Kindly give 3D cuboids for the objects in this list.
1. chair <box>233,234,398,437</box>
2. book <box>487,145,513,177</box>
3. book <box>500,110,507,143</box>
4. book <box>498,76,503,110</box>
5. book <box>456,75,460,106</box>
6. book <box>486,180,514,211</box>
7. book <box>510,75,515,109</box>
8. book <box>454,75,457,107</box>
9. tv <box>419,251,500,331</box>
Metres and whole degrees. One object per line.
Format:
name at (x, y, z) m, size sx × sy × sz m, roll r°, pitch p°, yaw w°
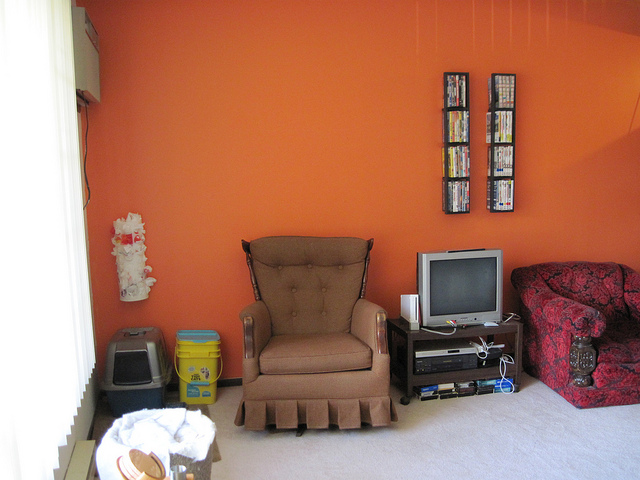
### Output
chair at (-0.044, 0.580, 4.375) m, size 1.254 × 1.631 × 1.272 m, roll 0°, pitch 4°, yaw -5°
book at (1.563, -0.677, 4.719) m, size 0.177 × 0.249 × 0.018 m, roll -1°, pitch 5°, yaw -4°
book at (1.555, -0.979, 4.691) m, size 0.069 × 0.220 × 0.206 m, roll -3°, pitch 14°, yaw 14°
book at (1.525, -1.248, 4.664) m, size 0.048 × 0.268 × 0.014 m, roll -3°, pitch 5°, yaw -19°
book at (1.158, -1.260, 4.640) m, size 0.030 × 0.251 × 0.012 m, roll -2°, pitch 5°, yaw -10°
book at (1.572, -0.375, 4.787) m, size 0.232 × 0.359 × 0.236 m, roll -2°, pitch 2°, yaw 1°
book at (1.624, -1.259, 4.669) m, size 0.042 × 0.269 × 0.014 m, roll -1°, pitch 5°, yaw -6°
book at (1.140, -1.254, 4.639) m, size 0.026 × 0.252 × 0.008 m, roll -2°, pitch 5°, yaw -13°
tv at (1.129, 0.396, 4.388) m, size 0.651 × 0.607 × 0.058 m, roll -2°, pitch 5°, yaw -13°
